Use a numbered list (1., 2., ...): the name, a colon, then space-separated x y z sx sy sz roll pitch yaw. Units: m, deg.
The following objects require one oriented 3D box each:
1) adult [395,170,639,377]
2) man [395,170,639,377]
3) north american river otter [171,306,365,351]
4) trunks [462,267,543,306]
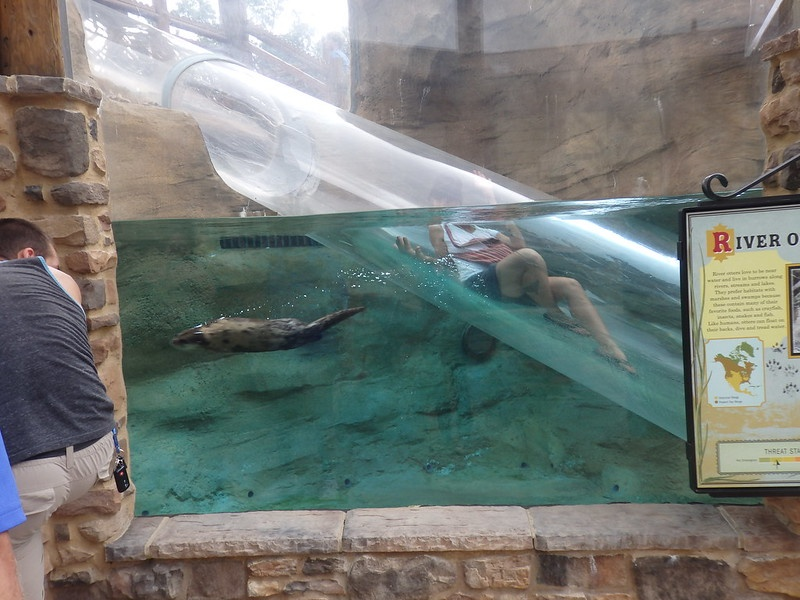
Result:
1. adult: 0.771 -0.130 5.243 1.566 0.730 1.024 12 11 37
2. man: 0.712 -0.147 5.281 1.566 0.730 1.024 12 11 37
3. north american river otter: -1.075 0.226 5.798 1.908 0.262 0.487 -4 3 -11
4. trunks: 0.727 -0.125 5.228 0.397 0.123 0.348 15 1 15
